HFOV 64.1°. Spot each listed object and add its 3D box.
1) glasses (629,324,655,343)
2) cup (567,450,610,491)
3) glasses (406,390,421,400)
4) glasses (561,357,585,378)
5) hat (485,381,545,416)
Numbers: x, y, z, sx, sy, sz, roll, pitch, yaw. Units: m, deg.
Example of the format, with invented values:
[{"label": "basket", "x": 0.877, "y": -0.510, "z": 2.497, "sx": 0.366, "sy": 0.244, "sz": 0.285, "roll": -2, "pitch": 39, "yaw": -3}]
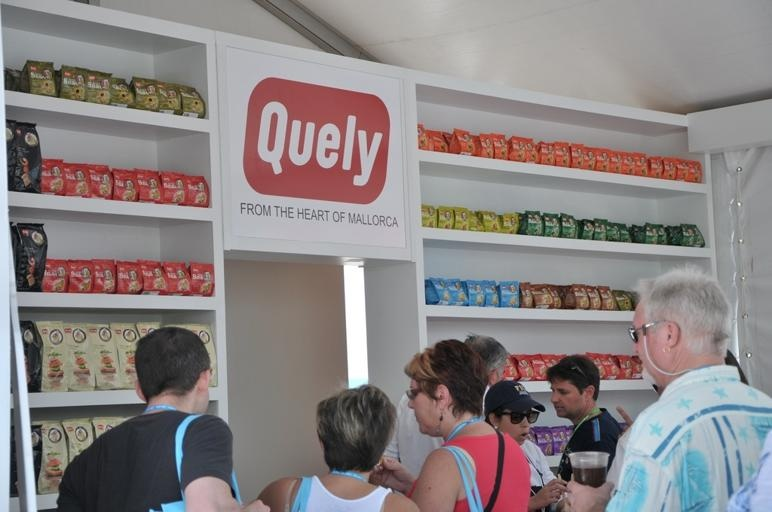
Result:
[{"label": "glasses", "x": 0.857, "y": 0.249, "z": 2.066, "sx": 0.069, "sy": 0.023, "sz": 0.069, "roll": -7, "pitch": -10, "yaw": -4}, {"label": "cup", "x": 0.718, "y": 0.747, "z": 2.182, "sx": 0.120, "sy": 0.117, "sz": 0.147, "roll": -2, "pitch": -5, "yaw": 17}, {"label": "glasses", "x": 0.109, "y": 0.559, "z": 2.519, "sx": 0.064, "sy": 0.049, "sz": 0.066, "roll": -3, "pitch": -8, "yaw": 16}, {"label": "glasses", "x": 1.065, "y": 0.618, "z": 3.450, "sx": 0.024, "sy": 0.084, "sz": 0.081, "roll": -43, "pitch": 19, "yaw": -20}, {"label": "hat", "x": 0.641, "y": 0.693, "z": 3.067, "sx": 0.239, "sy": 0.128, "sz": 0.178, "roll": -15, "pitch": -13, "yaw": 28}]
